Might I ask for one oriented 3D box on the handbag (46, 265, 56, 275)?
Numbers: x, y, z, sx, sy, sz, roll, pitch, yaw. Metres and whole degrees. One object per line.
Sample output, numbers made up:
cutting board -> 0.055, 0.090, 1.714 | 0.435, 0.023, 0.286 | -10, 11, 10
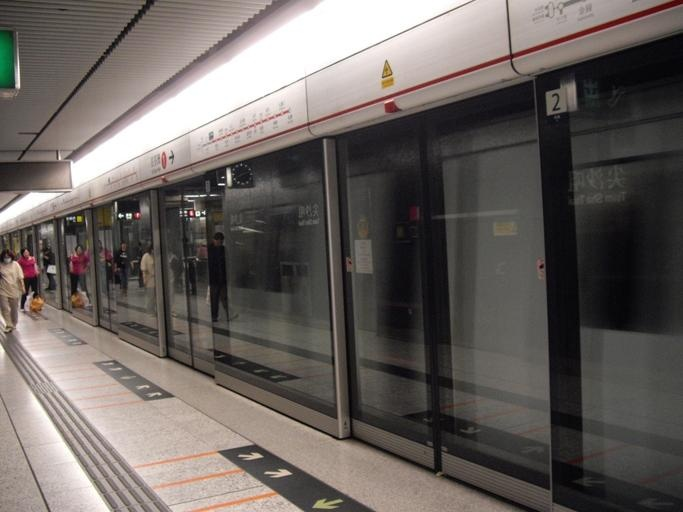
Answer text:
handbag -> -10.182, 0.462, 16.953 | 0.413, 0.413, 0.133 | 9, 1, 21
